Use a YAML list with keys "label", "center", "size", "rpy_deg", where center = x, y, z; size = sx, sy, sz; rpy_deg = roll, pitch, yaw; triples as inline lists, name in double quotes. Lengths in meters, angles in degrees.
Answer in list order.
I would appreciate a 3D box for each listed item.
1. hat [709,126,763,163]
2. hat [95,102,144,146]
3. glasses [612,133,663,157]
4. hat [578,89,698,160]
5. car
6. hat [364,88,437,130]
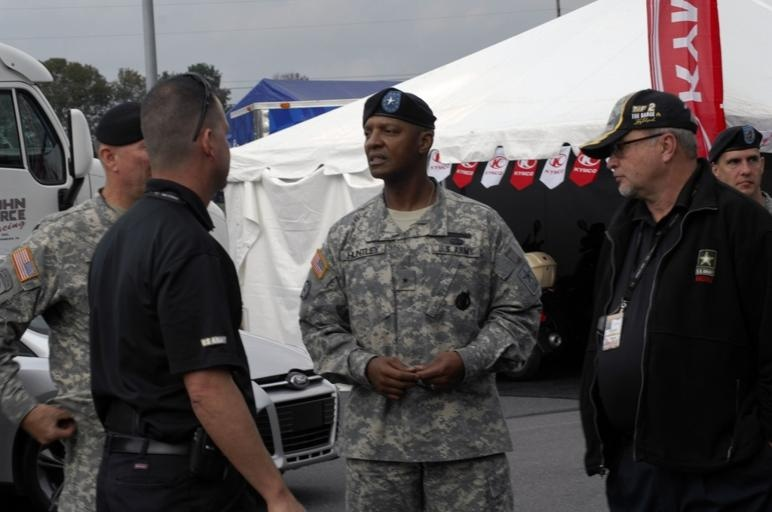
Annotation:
- label: "hat"
  center: [2.244, -0.744, 4.699]
  size: [0.283, 0.117, 0.302]
  rpy_deg: [-5, -7, -16]
- label: "hat"
  center: [-1.279, -0.635, 3.621]
  size: [0.217, 0.147, 0.287]
  rpy_deg: [-17, 19, 6]
- label: "glasses"
  center: [1.106, -0.500, 3.251]
  size: [0.148, 0.035, 0.103]
  rpy_deg: [-11, 3, -3]
- label: "hat"
  center: [1.123, -0.585, 3.261]
  size: [0.479, 0.228, 0.291]
  rpy_deg: [2, 1, 7]
- label: "car"
  center: [-1.746, 1.063, 5.443]
  size: [2.479, 1.005, 1.288]
  rpy_deg: [-3, -2, 15]
- label: "hat"
  center: [0.068, -0.664, 3.521]
  size: [0.242, 0.095, 0.268]
  rpy_deg: [8, -7, 43]
